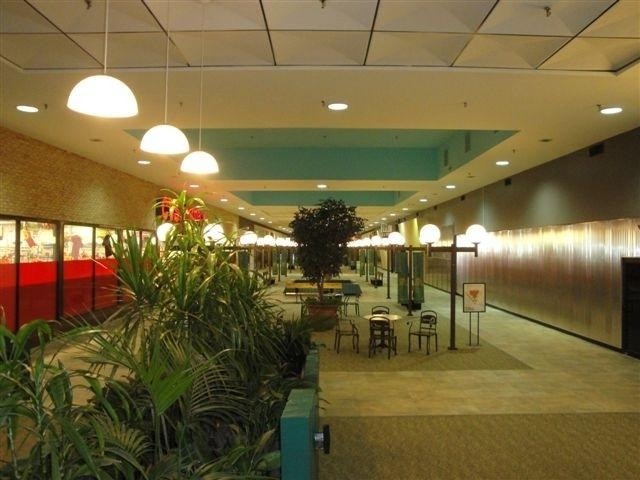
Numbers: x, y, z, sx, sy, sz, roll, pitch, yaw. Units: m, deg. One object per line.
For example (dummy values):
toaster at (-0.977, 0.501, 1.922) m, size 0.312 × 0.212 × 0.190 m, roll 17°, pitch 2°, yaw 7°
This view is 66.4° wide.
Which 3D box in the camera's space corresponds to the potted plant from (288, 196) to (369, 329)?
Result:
potted plant at (-0.039, 0.346, 11.881) m, size 1.589 × 2.689 × 2.342 m, roll -2°, pitch 2°, yaw -24°

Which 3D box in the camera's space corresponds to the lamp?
lamp at (-2.124, -1.813, 5.811) m, size 0.389 × 1.424 × 1.490 m, roll -4°, pitch -8°, yaw 32°
